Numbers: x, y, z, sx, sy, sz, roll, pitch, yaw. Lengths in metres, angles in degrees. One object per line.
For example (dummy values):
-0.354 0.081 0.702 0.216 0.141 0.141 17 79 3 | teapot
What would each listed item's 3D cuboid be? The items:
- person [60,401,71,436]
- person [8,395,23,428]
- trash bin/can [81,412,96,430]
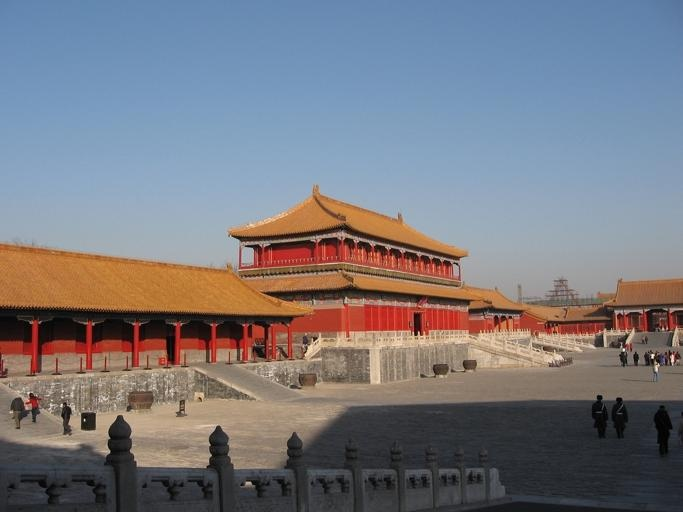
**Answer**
-11.319 6.714 47.309 0.368 1.341 1.981 0 -10 -14 | person
-13.137 6.404 46.483 0.498 1.311 1.155 1 -10 -15 | person
-10.556 6.932 47.904 0.570 0.743 0.623 0 -10 -13 | trash bin/can
